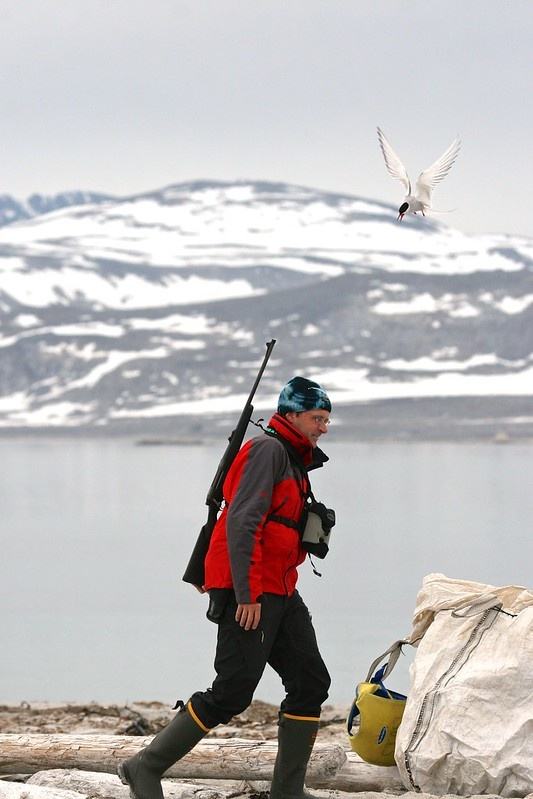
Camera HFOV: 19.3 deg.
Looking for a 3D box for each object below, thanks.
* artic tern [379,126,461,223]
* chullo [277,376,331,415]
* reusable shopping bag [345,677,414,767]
[{"bbox_3d":[1.171,-1.646,12.024,0.741,0.879,0.660,0,2,4],"label":"artic tern"},{"bbox_3d":[0.209,-0.013,9.000,0.269,0.187,0.235,4,-2,0],"label":"chullo"},{"bbox_3d":[0.648,1.927,9.466,0.432,0.422,0.584,-9,1,-14],"label":"reusable shopping bag"}]
